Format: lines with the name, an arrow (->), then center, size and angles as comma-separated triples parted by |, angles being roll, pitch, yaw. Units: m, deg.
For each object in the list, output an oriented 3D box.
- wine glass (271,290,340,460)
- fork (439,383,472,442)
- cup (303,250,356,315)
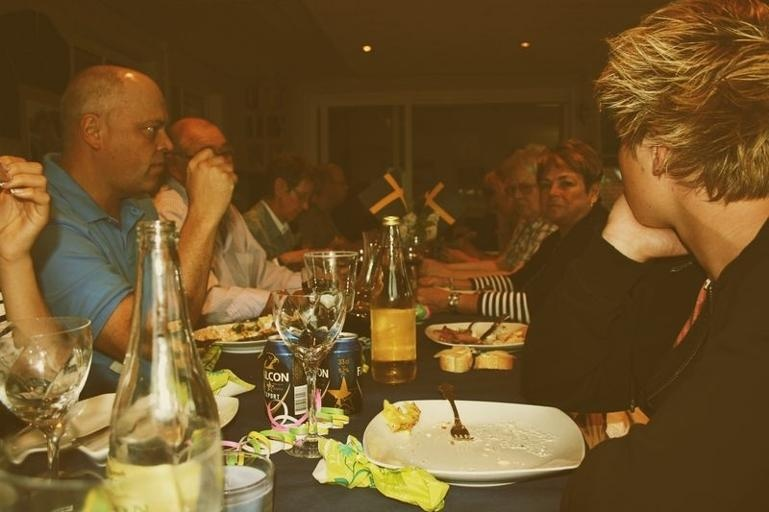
wine glass -> -0.172, 0.266, 1.548 | 0.158, 0.352, 0.143 | 1, 11, -5
fork -> 0.172, 0.369, 1.619 | 0.041, 0.023, 0.159 | -6, 32, -3
cup -> -0.146, 0.066, 1.824 | 0.167, 0.177, 0.171 | 0, -3, 0
